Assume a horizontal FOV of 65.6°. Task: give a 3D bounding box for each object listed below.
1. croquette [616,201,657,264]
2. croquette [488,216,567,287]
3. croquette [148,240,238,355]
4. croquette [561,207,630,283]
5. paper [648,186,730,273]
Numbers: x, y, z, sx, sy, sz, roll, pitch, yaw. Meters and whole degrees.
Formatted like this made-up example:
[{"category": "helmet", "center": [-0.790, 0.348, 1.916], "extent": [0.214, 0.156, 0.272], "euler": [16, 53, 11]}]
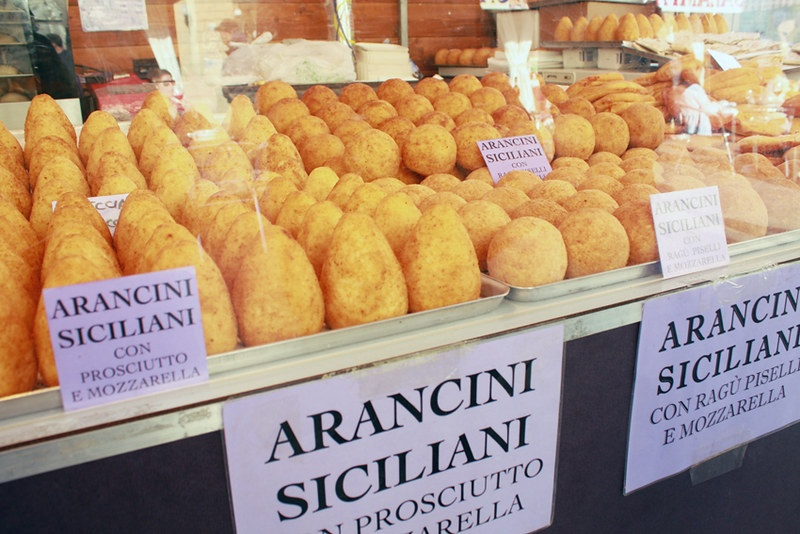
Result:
[{"category": "croquette", "center": [0.598, -0.088, 1.597], "extent": [0.084, 0.141, 0.121], "euler": [-1, -5, 6]}, {"category": "croquette", "center": [0.305, -0.027, 1.522], "extent": [0.176, 0.159, 0.164], "euler": [-5, 20, -2]}, {"category": "croquette", "center": [-0.417, 0.072, 1.264], "extent": [0.075, 0.220, 0.165], "euler": [-14, 3, 20]}, {"category": "croquette", "center": [0.478, -0.060, 1.538], "extent": [0.163, 0.155, 0.156], "euler": [8, 26, 24]}, {"category": "paper", "center": [0.722, -0.089, 1.571], "extent": [0.234, 0.220, 0.011], "euler": [-4, -7, -23]}]
